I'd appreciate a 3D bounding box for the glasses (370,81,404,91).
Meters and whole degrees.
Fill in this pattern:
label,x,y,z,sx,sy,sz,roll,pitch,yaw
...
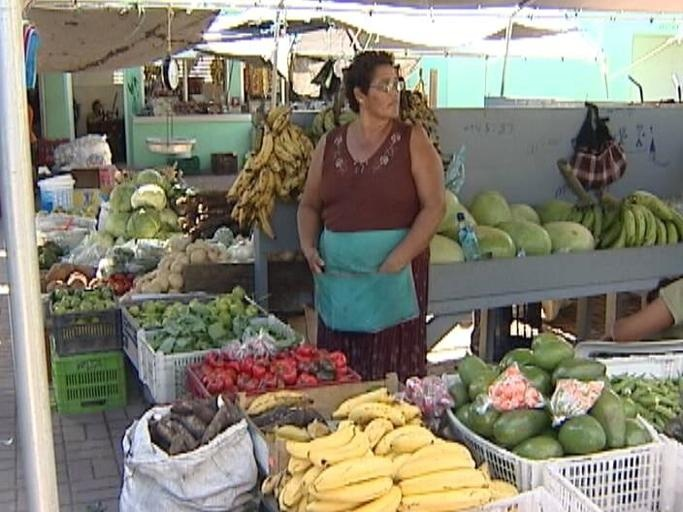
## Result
label,x,y,z,sx,sy,sz,roll,pitch,yaw
glasses,0.212,-0.808,3.111,0.133,0.054,0.050,-7,11,-19

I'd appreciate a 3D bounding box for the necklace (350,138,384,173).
label,x,y,z,sx,sy,sz,roll,pitch,yaw
necklace,0.127,-0.475,3.140,0.143,0.141,0.017,6,7,23

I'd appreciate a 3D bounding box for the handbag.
label,x,y,z,sx,sy,sz,roll,pitch,yaw
handbag,2.188,-0.918,5.562,0.506,0.760,0.164,-5,10,-10

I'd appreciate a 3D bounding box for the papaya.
label,x,y,z,sx,sy,sz,roll,pitch,yaw
papaya,0.719,0.510,2.401,0.470,0.387,0.614,2,11,-2

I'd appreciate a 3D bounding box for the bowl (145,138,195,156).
label,x,y,z,sx,sy,sz,roll,pitch,yaw
bowl,-4.091,-2.561,15.550,0.932,0.498,1.449,-1,11,10

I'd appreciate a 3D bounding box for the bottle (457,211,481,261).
label,x,y,z,sx,sy,sz,roll,pitch,yaw
bottle,0.809,-0.122,4.115,0.140,0.282,0.112,-1,10,10

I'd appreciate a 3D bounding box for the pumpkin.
label,x,y,z,sx,sy,sz,roll,pitch,yaw
pumpkin,-2.193,-0.506,7.068,0.844,0.887,0.843,-10,-7,-40

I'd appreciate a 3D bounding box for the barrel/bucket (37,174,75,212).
label,x,y,z,sx,sy,sz,roll,pitch,yaw
barrel/bucket,-4.370,-0.968,10.033,0.502,0.495,0.557,-7,12,-24

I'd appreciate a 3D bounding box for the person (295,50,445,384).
label,x,y,z,sx,sy,sz,roll,pitch,yaw
person,0.123,-0.153,3.487,0.673,1.774,0.705,0,9,-5

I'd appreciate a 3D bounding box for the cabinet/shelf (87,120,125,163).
label,x,y,z,sx,sy,sz,roll,pitch,yaw
cabinet/shelf,-6.607,-3.248,18.497,0.947,1.271,0.664,-7,11,-21
